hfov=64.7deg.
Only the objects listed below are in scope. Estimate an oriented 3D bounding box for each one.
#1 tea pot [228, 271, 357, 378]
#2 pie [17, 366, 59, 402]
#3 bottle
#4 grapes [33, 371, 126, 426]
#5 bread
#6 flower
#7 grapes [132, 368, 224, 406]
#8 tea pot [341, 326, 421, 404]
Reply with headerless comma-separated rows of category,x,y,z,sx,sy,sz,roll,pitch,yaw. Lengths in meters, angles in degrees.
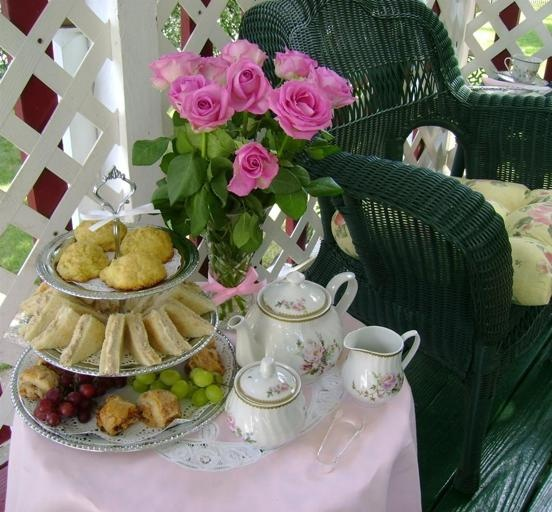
tea pot,0.027,0.129,0.820,0.215,0.160,0.158,-12,29,-28
pie,-0.392,0.204,0.734,0.049,0.064,0.023,41,-6,-1
bottle,-0.015,0.228,0.664,0.087,0.090,0.116,20,29,32
grapes,-0.319,0.226,0.714,0.085,0.067,0.119,19,25,28
bread,-0.273,-0.015,0.742,0.198,0.082,0.200,-1,21,-15
flower,-0.051,-0.104,0.783,0.382,0.504,0.281,-4,20,-20
grapes,-0.154,0.226,0.775,0.169,0.068,0.070,7,59,2
tea pot,0.189,0.186,0.823,0.149,0.115,0.090,-19,31,-32
